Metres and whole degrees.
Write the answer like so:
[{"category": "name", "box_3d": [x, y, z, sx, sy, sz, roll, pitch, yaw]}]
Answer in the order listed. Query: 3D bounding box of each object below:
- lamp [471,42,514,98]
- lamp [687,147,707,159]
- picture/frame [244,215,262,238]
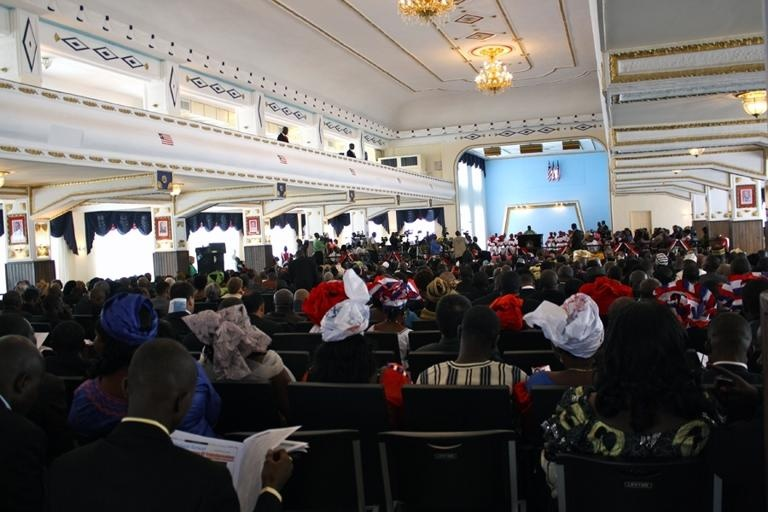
[{"category": "lamp", "box_3d": [4.238, -7.427, 22.334, 1.664, 2.102, 1.658, 0, -3, -10]}, {"category": "lamp", "box_3d": [8.102, -2.689, 14.382, 0.464, 0.228, 0.455, 10, -8, -32]}, {"category": "picture/frame", "box_3d": [-5.069, -1.153, 21.288, 0.731, 0.742, 0.187, 2, 0, 15]}]
